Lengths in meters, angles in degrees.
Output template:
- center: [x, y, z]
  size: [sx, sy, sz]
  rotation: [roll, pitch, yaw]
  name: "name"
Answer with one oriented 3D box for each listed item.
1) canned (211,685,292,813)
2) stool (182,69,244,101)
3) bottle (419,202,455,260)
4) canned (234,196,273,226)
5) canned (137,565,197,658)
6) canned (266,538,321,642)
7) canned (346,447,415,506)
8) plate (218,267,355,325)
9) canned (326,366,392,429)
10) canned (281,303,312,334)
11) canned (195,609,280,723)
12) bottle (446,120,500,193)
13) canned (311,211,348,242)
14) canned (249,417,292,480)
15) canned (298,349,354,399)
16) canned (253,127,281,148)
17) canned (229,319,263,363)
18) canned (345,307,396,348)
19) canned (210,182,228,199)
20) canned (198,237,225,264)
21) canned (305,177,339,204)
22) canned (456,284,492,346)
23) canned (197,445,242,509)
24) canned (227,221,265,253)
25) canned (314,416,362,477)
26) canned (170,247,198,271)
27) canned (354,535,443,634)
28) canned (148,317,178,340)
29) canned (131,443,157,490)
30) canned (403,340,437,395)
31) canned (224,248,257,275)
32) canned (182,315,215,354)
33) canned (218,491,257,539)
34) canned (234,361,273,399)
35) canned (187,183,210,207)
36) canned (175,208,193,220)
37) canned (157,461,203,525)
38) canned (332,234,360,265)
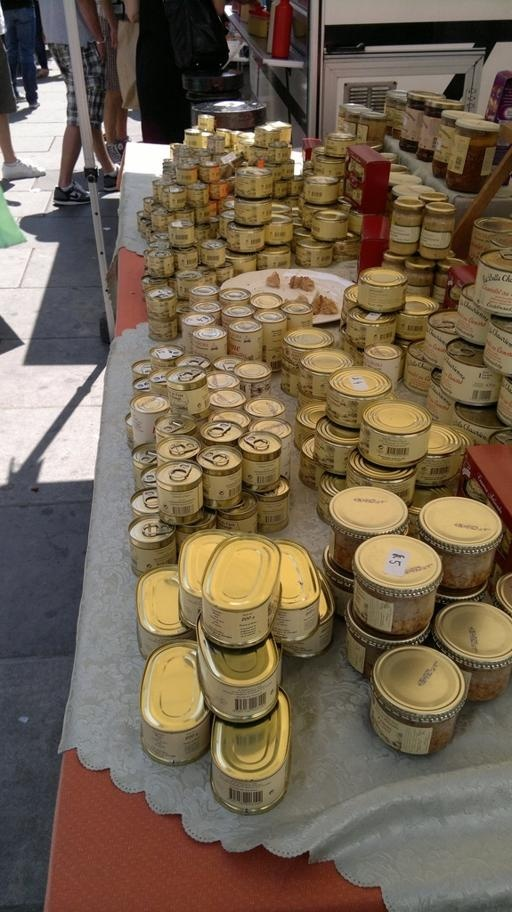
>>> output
- center: [-0.006, 0.407, 0.944]
  size: [0.110, 0.067, 0.190]
  rotation: [5, 18, 8]
  name: "canned"
- center: [-0.267, -2.475, 4.543]
  size: [0.276, 0.103, 0.289]
  rotation: [-9, 43, -11]
  name: "stool"
- center: [0.523, -0.642, 1.929]
  size: [0.089, 0.147, 0.092]
  rotation: [0, 33, 0]
  name: "bottle"
- center: [-0.008, -0.829, 2.298]
  size: [0.096, 0.062, 0.102]
  rotation: [-7, 48, -7]
  name: "canned"
- center: [-0.152, 0.261, 1.124]
  size: [0.095, 0.060, 0.168]
  rotation: [2, 32, -7]
  name: "canned"
- center: [0.054, 0.207, 1.067]
  size: [0.085, 0.053, 0.162]
  rotation: [-7, 40, 0]
  name: "canned"
- center: [0.225, 0.032, 1.197]
  size: [0.091, 0.063, 0.095]
  rotation: [1, 32, -4]
  name: "canned"
- center: [0.135, -0.553, 2.217]
  size: [0.287, 0.043, 0.290]
  rotation: [23, 46, 30]
  name: "plate"
- center: [0.205, -0.130, 1.387]
  size: [0.115, 0.082, 0.118]
  rotation: [5, 44, 9]
  name: "canned"
- center: [0.114, -0.382, 1.882]
  size: [0.062, 0.068, 0.061]
  rotation: [31, 55, 28]
  name: "canned"
- center: [-0.020, 0.277, 0.908]
  size: [0.097, 0.064, 0.162]
  rotation: [-4, 20, -7]
  name: "canned"
- center: [0.709, -0.983, 2.176]
  size: [0.145, 0.223, 0.145]
  rotation: [1, 44, -1]
  name: "bottle"
- center: [0.268, -0.801, 2.403]
  size: [0.108, 0.069, 0.109]
  rotation: [-21, 47, -22]
  name: "canned"
- center: [0.046, -0.019, 1.405]
  size: [0.107, 0.126, 0.113]
  rotation: [4, 40, 5]
  name: "canned"
- center: [0.171, -0.207, 1.616]
  size: [0.111, 0.132, 0.117]
  rotation: [9, 34, 11]
  name: "canned"
- center: [0.044, -1.242, 2.614]
  size: [0.077, 0.041, 0.105]
  rotation: [-4, 47, -7]
  name: "canned"
- center: [-0.024, -0.300, 1.814]
  size: [0.099, 0.116, 0.105]
  rotation: [-8, 45, -6]
  name: "canned"
- center: [0.290, -0.323, 1.712]
  size: [0.103, 0.071, 0.108]
  rotation: [12, 38, 11]
  name: "canned"
- center: [-0.138, -1.046, 2.648]
  size: [0.065, 0.059, 0.069]
  rotation: [18, 50, 15]
  name: "canned"
- center: [-0.144, -0.691, 2.304]
  size: [0.084, 0.065, 0.081]
  rotation: [28, 51, 26]
  name: "canned"
- center: [0.240, -0.958, 2.426]
  size: [0.099, 0.068, 0.106]
  rotation: [2, 44, -4]
  name: "canned"
- center: [0.438, -0.282, 1.405]
  size: [0.099, 0.116, 0.105]
  rotation: [5, 41, 16]
  name: "canned"
- center: [-0.068, 0.037, 1.249]
  size: [0.083, 0.096, 0.084]
  rotation: [-27, 47, -36]
  name: "canned"
- center: [-0.034, -0.752, 2.334]
  size: [0.106, 0.072, 0.111]
  rotation: [21, 48, 18]
  name: "canned"
- center: [0.161, -0.005, 1.367]
  size: [0.096, 0.076, 0.092]
  rotation: [-24, 49, -29]
  name: "canned"
- center: [-0.250, -0.677, 2.311]
  size: [0.065, 0.045, 0.065]
  rotation: [-27, 47, -30]
  name: "canned"
- center: [0.206, 0.188, 0.983]
  size: [0.122, 0.098, 0.124]
  rotation: [-23, 36, -23]
  name: "canned"
- center: [-0.293, -0.404, 2.162]
  size: [0.072, 0.077, 0.074]
  rotation: [26, 50, 21]
  name: "canned"
- center: [-0.237, 0.023, 1.433]
  size: [0.065, 0.075, 0.068]
  rotation: [-9, 38, -8]
  name: "canned"
- center: [0.408, -0.232, 1.777]
  size: [0.106, 0.125, 0.112]
  rotation: [-2, 36, 0]
  name: "canned"
- center: [-0.048, -0.681, 2.359]
  size: [0.079, 0.054, 0.084]
  rotation: [4, 42, 4]
  name: "canned"
- center: [-0.150, -0.323, 1.778]
  size: [0.067, 0.076, 0.069]
  rotation: [27, 59, 20]
  name: "canned"
- center: [-0.029, 0.116, 1.268]
  size: [0.067, 0.078, 0.071]
  rotation: [1, 32, 5]
  name: "canned"
- center: [-0.003, -0.170, 1.668]
  size: [0.089, 0.101, 0.095]
  rotation: [1, 48, 1]
  name: "canned"
- center: [-0.215, -0.968, 2.539]
  size: [0.079, 0.076, 0.088]
  rotation: [2, 50, 2]
  name: "canned"
- center: [-0.258, -0.874, 2.441]
  size: [0.048, 0.032, 0.050]
  rotation: [29, 51, 23]
  name: "canned"
- center: [-0.137, 0.069, 1.206]
  size: [0.078, 0.092, 0.079]
  rotation: [-12, 33, -22]
  name: "canned"
- center: [0.339, -0.757, 2.471]
  size: [0.095, 0.074, 0.100]
  rotation: [-6, 42, 0]
  name: "canned"
